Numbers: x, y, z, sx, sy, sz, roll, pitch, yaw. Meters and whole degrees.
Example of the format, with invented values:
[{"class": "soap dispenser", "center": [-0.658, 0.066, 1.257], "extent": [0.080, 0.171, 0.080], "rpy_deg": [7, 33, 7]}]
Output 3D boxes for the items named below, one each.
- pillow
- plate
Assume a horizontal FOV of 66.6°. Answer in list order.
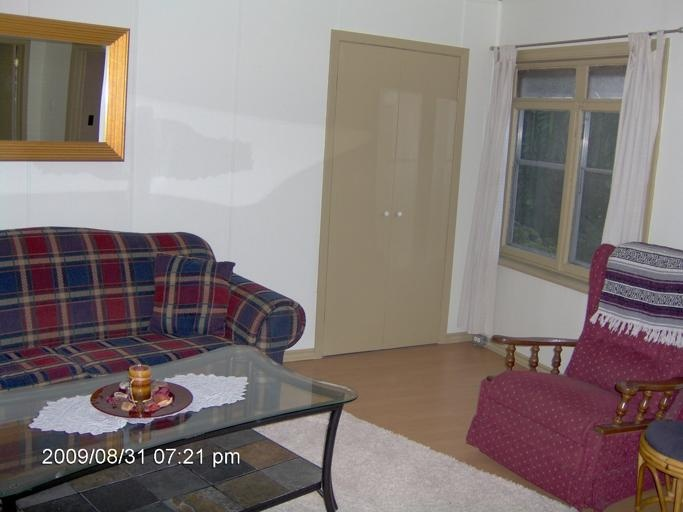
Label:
[{"class": "pillow", "center": [-0.957, 0.264, 3.316], "extent": [0.525, 0.491, 0.155], "rpy_deg": [3, -10, -8]}, {"class": "plate", "center": [-0.858, 0.607, 2.266], "extent": [0.426, 0.055, 0.319], "rpy_deg": [2, 11, -9]}]
